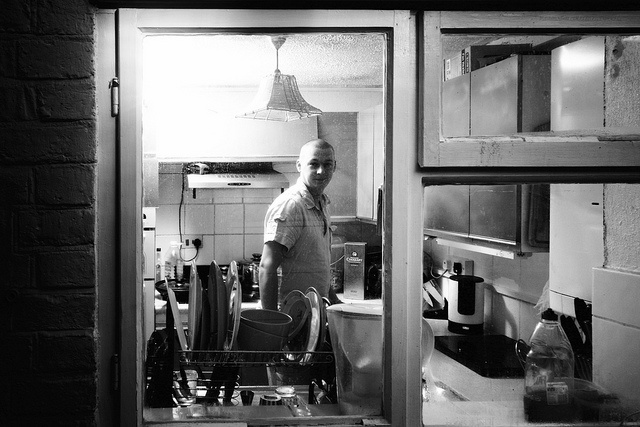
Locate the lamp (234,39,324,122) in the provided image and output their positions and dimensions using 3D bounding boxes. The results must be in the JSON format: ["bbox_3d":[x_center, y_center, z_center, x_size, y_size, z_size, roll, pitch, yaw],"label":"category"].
[{"bbox_3d":[-0.126,-0.449,1.982,0.230,0.259,0.229,-3,4,-15],"label":"lamp"}]

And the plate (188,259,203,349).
[{"bbox_3d":[-0.388,0.286,1.921,0.046,0.264,0.032,-1,2,-12],"label":"plate"}]

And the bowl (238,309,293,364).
[{"bbox_3d":[-0.176,0.378,1.902,0.168,0.122,0.137,6,-9,-8],"label":"bowl"}]

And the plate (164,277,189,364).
[{"bbox_3d":[-0.439,0.326,1.912,0.054,0.265,0.038,-14,3,-27],"label":"plate"}]

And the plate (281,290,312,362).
[{"bbox_3d":[-0.070,0.352,1.979,0.035,0.184,0.148,16,-33,-31],"label":"plate"}]

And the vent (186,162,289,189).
[{"bbox_3d":[-0.259,-0.123,1.948,0.315,0.078,0.041,-1,2,-15],"label":"vent"}]

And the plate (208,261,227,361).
[{"bbox_3d":[-0.320,0.297,1.929,0.060,0.254,0.035,-1,0,33],"label":"plate"}]

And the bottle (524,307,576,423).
[{"bbox_3d":[0.742,0.497,1.969,0.183,0.278,0.177,-1,2,0],"label":"bottle"}]

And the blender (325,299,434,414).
[{"bbox_3d":[0.152,0.444,1.995,0.344,0.317,0.284,0,-2,-12],"label":"blender"}]

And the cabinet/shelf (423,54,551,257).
[{"bbox_3d":[0.627,-0.194,2.217,0.226,0.630,0.669,1,2,-16],"label":"cabinet/shelf"}]
